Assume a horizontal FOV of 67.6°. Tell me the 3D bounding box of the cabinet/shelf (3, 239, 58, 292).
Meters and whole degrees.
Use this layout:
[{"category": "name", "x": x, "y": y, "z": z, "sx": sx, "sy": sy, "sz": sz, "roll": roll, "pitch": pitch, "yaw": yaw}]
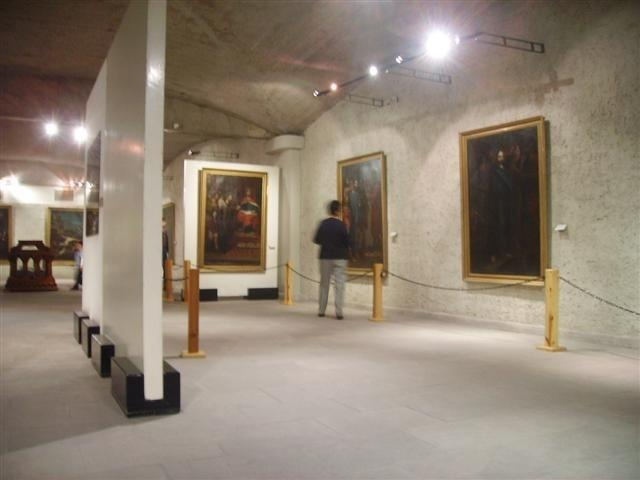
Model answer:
[{"category": "cabinet/shelf", "x": -11.580, "y": 1.174, "z": 19.654, "sx": 2.326, "sy": 2.477, "sz": 2.051, "roll": 1, "pitch": 2, "yaw": -16}]
